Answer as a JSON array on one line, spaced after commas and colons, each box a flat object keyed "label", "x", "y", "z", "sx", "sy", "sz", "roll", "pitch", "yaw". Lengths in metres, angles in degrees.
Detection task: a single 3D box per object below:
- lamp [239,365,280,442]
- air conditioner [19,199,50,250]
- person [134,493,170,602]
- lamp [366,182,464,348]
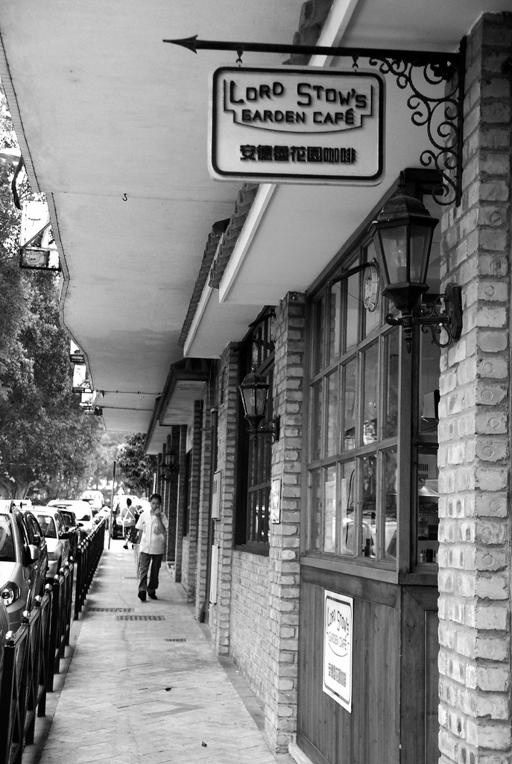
[{"label": "lamp", "x": 0.028, "y": 0.163, "z": 6.764, "sx": 0.251, "sy": 0.635, "sz": 0.227, "roll": 2, "pitch": 12, "yaw": 3}, {"label": "air conditioner", "x": -2.392, "y": -1.712, "z": 9.382, "sx": 0.352, "sy": 0.555, "sz": 0.210, "roll": 0, "pitch": -5, "yaw": 3}, {"label": "person", "x": -1.810, "y": 2.838, "z": 14.828, "sx": 0.480, "sy": 1.789, "sz": 1.822, "roll": 1, "pitch": -6, "yaw": -8}, {"label": "lamp", "x": 0.574, "y": -0.444, "z": 3.107, "sx": 0.336, "sy": 0.654, "sz": 0.268, "roll": -2, "pitch": -6, "yaw": 23}]
